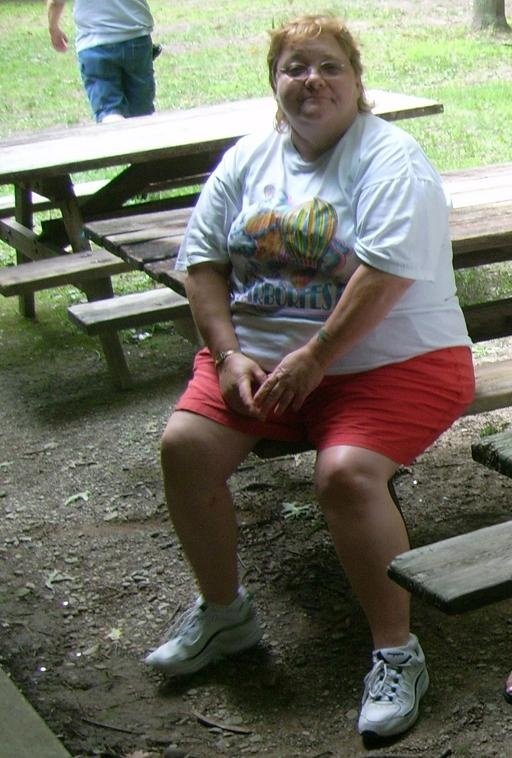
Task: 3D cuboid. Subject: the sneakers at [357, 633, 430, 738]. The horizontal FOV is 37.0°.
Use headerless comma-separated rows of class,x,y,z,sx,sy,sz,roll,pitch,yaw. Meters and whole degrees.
sneakers,0.308,0.650,1.663,0.102,0.111,0.262,-2,16,26
